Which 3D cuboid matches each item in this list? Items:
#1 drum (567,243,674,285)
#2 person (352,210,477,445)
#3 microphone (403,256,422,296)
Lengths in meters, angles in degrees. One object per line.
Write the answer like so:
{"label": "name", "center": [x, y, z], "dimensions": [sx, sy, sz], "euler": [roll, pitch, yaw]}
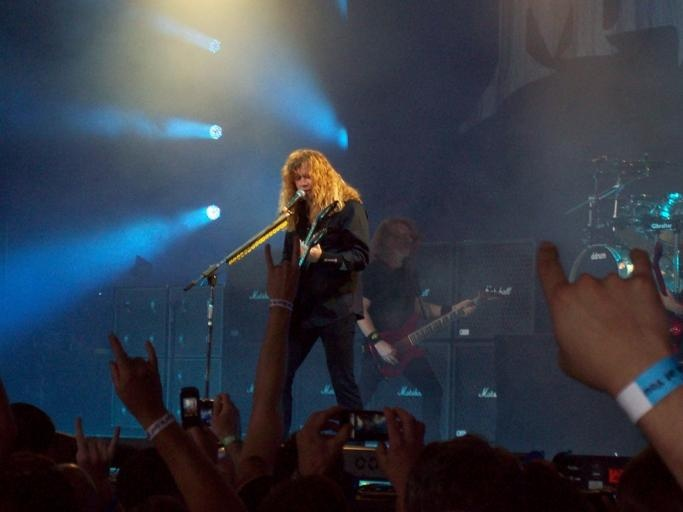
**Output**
{"label": "drum", "center": [1.469, 0.036, 3.293], "dimensions": [0.370, 0.147, 0.230], "euler": [-1, -21, 36]}
{"label": "person", "center": [0.463, 0.817, 4.936], "dimensions": [1.066, 2.181, 0.700], "euler": [7, 12, 33]}
{"label": "microphone", "center": [0.551, 0.169, 4.927], "dimensions": [0.123, 0.275, 0.036], "euler": [-13, -13, 43]}
